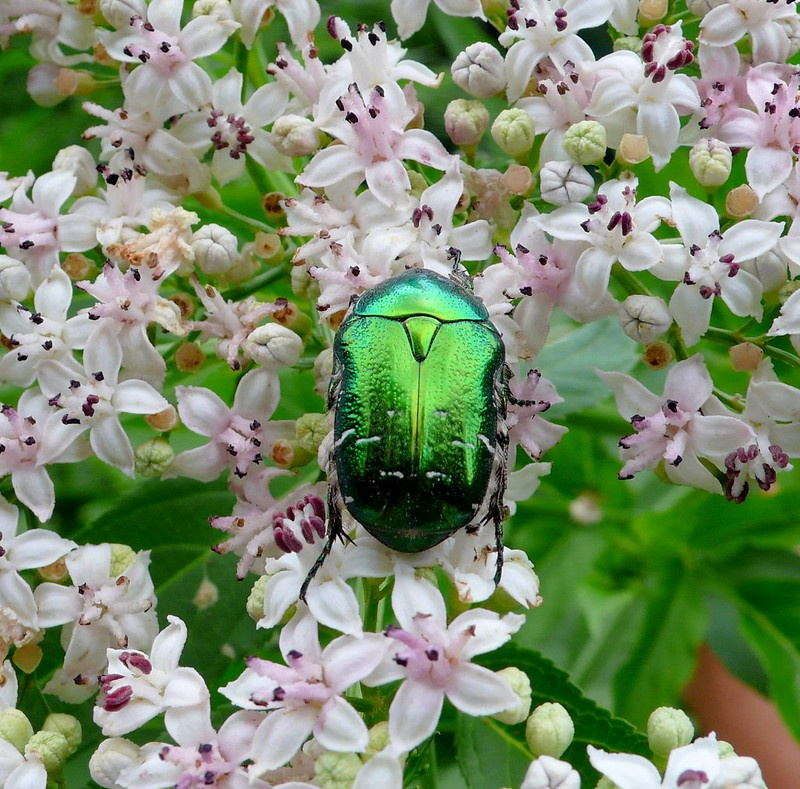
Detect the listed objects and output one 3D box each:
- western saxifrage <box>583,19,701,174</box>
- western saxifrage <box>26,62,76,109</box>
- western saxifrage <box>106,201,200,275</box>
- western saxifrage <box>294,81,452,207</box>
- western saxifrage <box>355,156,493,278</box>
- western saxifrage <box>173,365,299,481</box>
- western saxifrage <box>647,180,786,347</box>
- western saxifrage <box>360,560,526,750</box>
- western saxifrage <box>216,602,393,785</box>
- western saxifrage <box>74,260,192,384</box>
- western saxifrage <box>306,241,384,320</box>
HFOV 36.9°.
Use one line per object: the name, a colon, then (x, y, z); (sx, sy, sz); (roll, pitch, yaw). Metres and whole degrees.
western saxifrage: (0.776, -0.938, 3.773); (0.349, 0.187, 0.419); (3, 91, 7)
western saxifrage: (-1.313, -1.184, 4.554); (0.178, 0.240, 0.130); (7, 80, 3)
western saxifrage: (-0.778, -0.502, 3.926); (0.254, 0.253, 0.095); (23, 34, -21)
western saxifrage: (-0.077, -0.871, 3.908); (0.475, 0.425, 0.186); (-26, 93, -23)
western saxifrage: (0.069, -0.567, 3.846); (0.421, 0.179, 0.427); (1, 90, -2)
western saxifrage: (-0.573, 0.114, 3.948); (0.438, 0.177, 0.325); (-14, 81, -1)
western saxifrage: (0.961, -0.388, 3.662); (0.353, 0.125, 0.460); (13, 81, 3)
western saxifrage: (0.079, 0.748, 3.381); (0.449, 0.166, 0.515); (-12, 28, 30)
western saxifrage: (-0.247, 0.833, 3.343); (0.354, 0.207, 0.458); (-3, 58, 33)
western saxifrage: (-0.864, -0.239, 3.954); (0.379, 0.161, 0.375); (-20, 99, -9)
western saxifrage: (-0.180, -0.371, 3.849); (0.217, 0.099, 0.244); (4, 84, -2)
